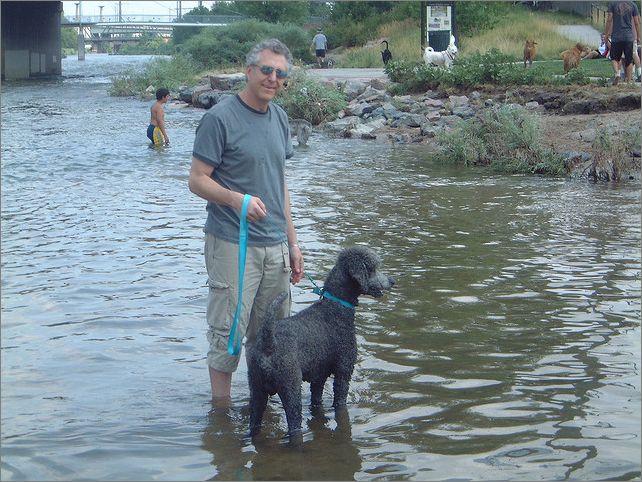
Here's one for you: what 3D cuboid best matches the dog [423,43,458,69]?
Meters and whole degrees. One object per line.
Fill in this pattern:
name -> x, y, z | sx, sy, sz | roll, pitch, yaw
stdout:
dog -> 4.469, -6.960, 35.965 | 1.208, 0.874, 1.877 | -1, 5, 6

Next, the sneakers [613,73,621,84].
sneakers -> 8.066, -4.398, 26.076 | 0.121, 0.329, 0.139 | 10, 51, 11
